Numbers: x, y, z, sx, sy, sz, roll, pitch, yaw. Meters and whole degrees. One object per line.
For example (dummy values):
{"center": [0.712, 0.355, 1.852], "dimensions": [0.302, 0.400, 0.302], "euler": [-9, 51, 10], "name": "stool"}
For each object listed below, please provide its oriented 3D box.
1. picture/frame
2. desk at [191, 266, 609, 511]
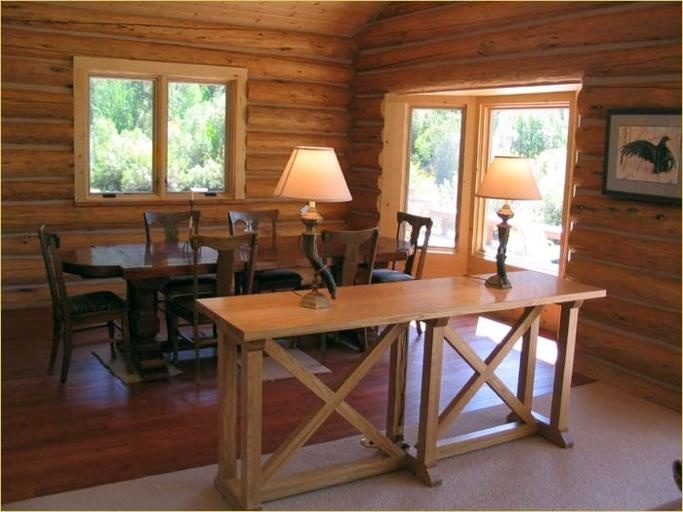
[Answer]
{"center": [2.807, -0.921, 5.032], "dimensions": [0.052, 0.956, 1.126], "euler": [-2, 4, -33], "name": "picture/frame"}
{"center": [0.449, 0.906, 3.977], "dimensions": [2.698, 1.285, 0.800], "euler": [-4, 12, -24], "name": "desk"}
